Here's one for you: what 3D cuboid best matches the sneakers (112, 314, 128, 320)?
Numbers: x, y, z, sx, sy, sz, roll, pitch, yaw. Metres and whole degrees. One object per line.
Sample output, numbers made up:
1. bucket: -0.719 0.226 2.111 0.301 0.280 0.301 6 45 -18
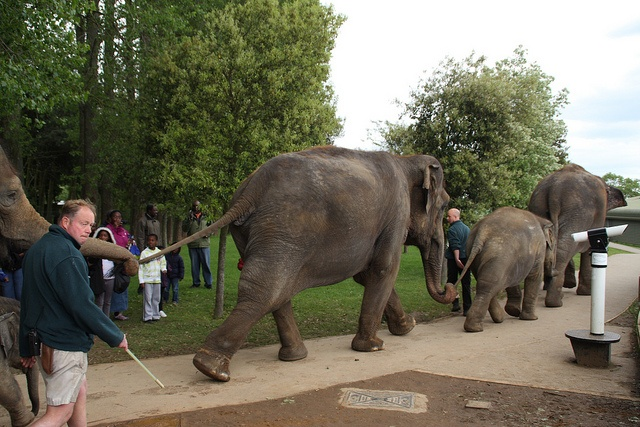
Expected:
1. sneakers: -4.624 2.375 12.297 0.345 0.151 0.134 4 1 7
